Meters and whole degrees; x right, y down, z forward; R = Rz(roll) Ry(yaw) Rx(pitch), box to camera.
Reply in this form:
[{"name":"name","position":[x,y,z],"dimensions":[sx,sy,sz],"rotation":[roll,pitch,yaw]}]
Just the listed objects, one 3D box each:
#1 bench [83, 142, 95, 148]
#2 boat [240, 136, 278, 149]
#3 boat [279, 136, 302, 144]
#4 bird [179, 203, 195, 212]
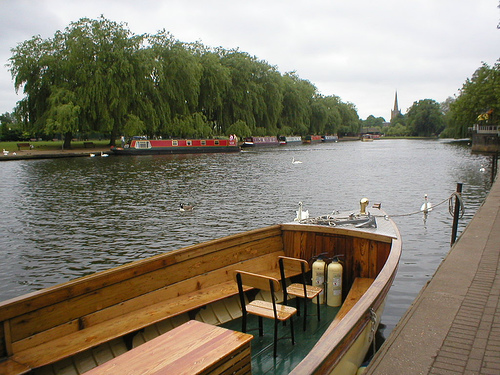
[{"name":"bench","position":[-26.444,-7.205,63.877],"dimensions":[1.769,1.063,0.661],"rotation":[3,34,-6]},{"name":"boat","position":[2.176,-9.553,81.395],"dimensions":[2.475,2.081,13.051],"rotation":[13,21,32]},{"name":"boat","position":[9.865,-11.345,93.034],"dimensions":[0.926,1.855,8.796],"rotation":[5,11,33]},{"name":"bird","position":[-3.144,0.930,19.306],"dimensions":[0.780,0.485,0.253],"rotation":[11,6,12]}]
